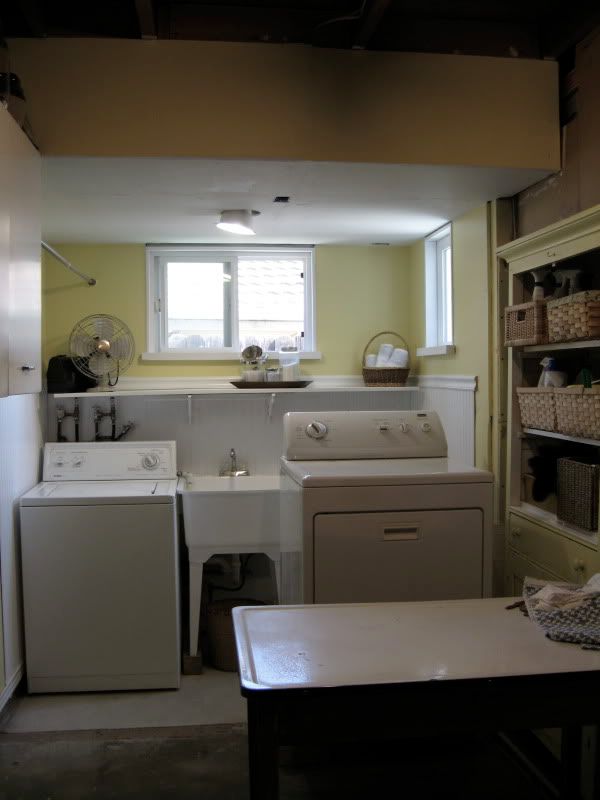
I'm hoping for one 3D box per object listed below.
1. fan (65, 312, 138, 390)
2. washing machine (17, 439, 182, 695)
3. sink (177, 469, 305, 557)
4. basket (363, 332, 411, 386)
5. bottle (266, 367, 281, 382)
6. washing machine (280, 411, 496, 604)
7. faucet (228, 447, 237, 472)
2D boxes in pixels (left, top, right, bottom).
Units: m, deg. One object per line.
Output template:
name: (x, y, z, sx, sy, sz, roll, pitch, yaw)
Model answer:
fan: (-1.011, -0.222, 3.718, 0.377, 0.413, 0.264, 5, -3, 22)
washing machine: (-0.921, 0.776, 3.322, 0.699, 1.051, 0.623, -1, 4, -13)
sink: (-0.353, 0.678, 3.662, 0.583, 0.415, 0.687, 3, -9, 6)
basket: (0.496, -0.222, 3.910, 0.253, 0.355, 0.213, 2, -14, 10)
bottle: (-0.138, -0.136, 3.728, 0.069, 0.078, 0.069, 4, -3, 0)
washing machine: (0.320, 0.495, 2.630, 0.702, 0.677, 0.715, -1, 9, -8)
faucet: (-0.375, 0.341, 3.903, 0.040, 0.129, 0.058, -1, 9, -8)
